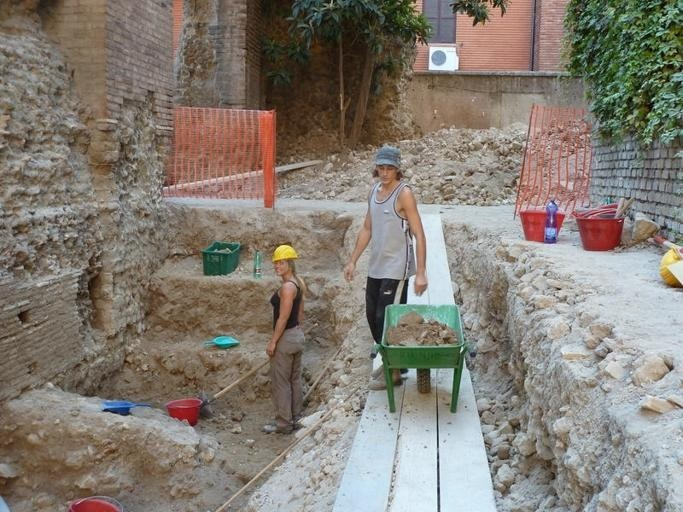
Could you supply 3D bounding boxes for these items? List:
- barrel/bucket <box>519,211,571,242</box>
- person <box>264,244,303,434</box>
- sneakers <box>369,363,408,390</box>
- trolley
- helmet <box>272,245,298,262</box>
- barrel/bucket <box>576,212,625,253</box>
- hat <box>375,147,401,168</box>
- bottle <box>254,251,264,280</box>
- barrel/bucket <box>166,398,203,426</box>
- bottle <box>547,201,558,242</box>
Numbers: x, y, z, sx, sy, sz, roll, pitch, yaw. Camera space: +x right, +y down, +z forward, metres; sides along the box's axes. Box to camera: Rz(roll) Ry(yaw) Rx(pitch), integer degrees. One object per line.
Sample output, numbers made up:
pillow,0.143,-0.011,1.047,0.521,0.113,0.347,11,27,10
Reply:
barrel/bucket,2.281,-0.371,7.452,0.372,0.269,0.403,0,-1,0
person,-0.699,1.048,7.659,0.530,2.385,0.516,-3,11,-8
sneakers,0.458,1.129,6.071,0.390,0.314,0.166,3,10,16
trolley,0.735,0.893,5.658,0.717,0.852,0.846,1,12,11
helmet,-0.661,-0.034,7.481,0.248,0.195,0.324,-2,12,-3
barrel/bucket,2.850,-0.270,7.050,0.374,0.278,0.388,-1,5,0
hat,0.420,-0.873,5.686,0.210,0.200,0.158,-2,12,-4
bottle,-1.336,0.089,10.197,0.157,0.401,0.632,-2,12,-7
barrel/bucket,-1.995,2.032,8.155,0.444,0.344,0.491,-5,12,-20
bottle,2.430,-0.400,7.357,0.146,0.470,0.284,3,12,18
